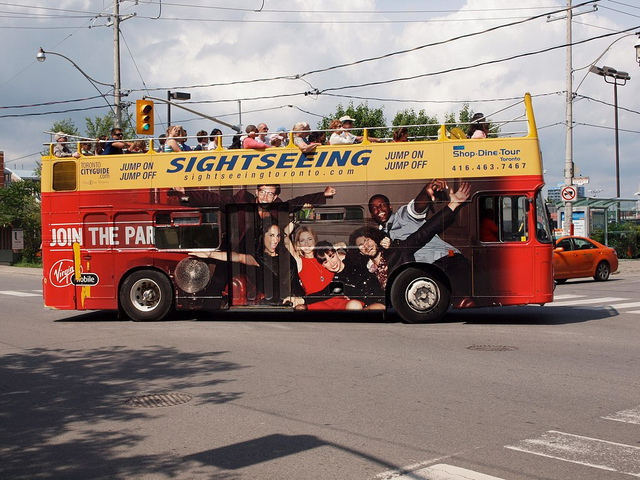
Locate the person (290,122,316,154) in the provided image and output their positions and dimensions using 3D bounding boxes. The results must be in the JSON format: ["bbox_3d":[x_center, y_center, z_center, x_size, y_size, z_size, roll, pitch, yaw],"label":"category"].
[{"bbox_3d":[-0.394,-2.313,17.460,0.457,0.750,0.591,-17,1,-19],"label":"person"}]

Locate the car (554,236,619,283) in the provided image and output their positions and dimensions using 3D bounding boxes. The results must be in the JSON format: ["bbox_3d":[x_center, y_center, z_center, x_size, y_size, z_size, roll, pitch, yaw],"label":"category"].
[{"bbox_3d":[8.920,0.623,27.086,3.387,1.261,1.564,3,-5,-23],"label":"car"}]

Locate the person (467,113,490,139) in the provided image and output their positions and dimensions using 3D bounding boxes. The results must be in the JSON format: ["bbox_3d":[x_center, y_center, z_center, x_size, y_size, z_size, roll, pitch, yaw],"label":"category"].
[{"bbox_3d":[3.329,-2.409,17.000,0.449,0.507,0.711,0,6,12],"label":"person"}]
